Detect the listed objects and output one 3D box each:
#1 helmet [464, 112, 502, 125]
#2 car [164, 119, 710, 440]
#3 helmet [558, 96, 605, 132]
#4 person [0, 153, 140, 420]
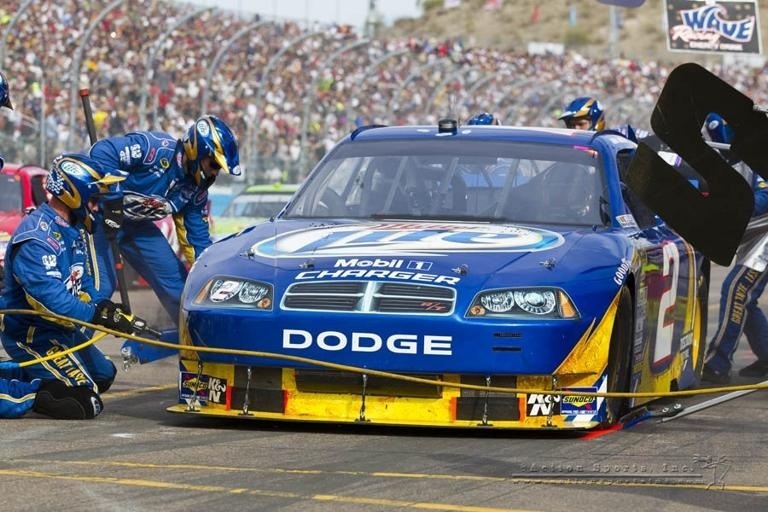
[{"bbox_3d":[0.994,-1.402,15.856,0.237,0.096,0.369,2,5,10],"label":"helmet"},{"bbox_3d":[0.892,-0.325,14.106,3.833,1.796,5.738,3,15,18],"label":"car"},{"bbox_3d":[2.173,-1.503,16.664,0.563,0.367,0.401,-11,12,-36],"label":"helmet"},{"bbox_3d":[-2.685,0.267,12.778,1.020,2.149,0.961,-5,13,-21],"label":"person"}]
